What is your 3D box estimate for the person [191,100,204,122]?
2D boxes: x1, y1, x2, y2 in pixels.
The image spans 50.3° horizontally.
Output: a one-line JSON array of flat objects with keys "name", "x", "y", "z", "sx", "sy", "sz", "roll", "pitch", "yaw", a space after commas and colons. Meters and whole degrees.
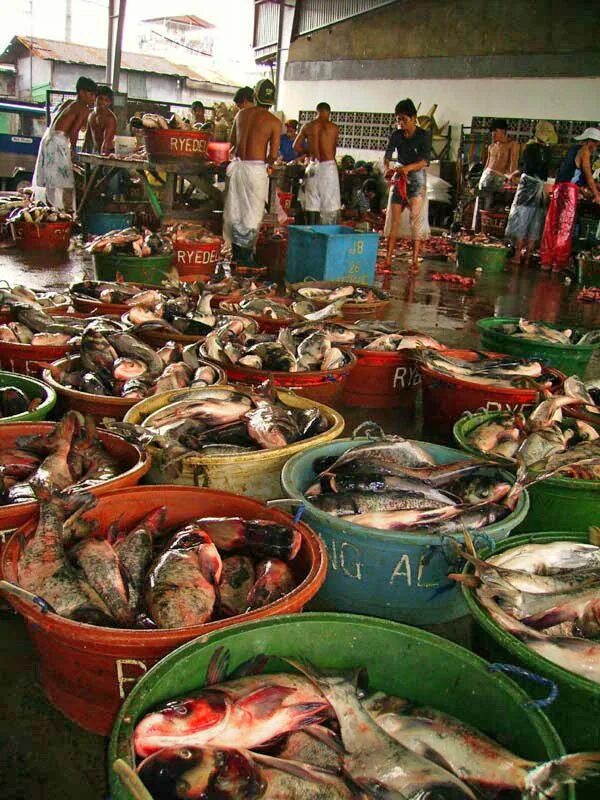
[{"name": "person", "x": -2.086, "y": -5.891, "z": 13.035, "sx": 0.190, "sy": 0.548, "sz": 0.695, "roll": 4, "pitch": 12, "yaw": -6}]

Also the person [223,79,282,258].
[{"name": "person", "x": -0.628, "y": -2.973, "z": 8.289, "sx": 0.660, "sy": 2.334, "sz": 0.680, "roll": 4, "pitch": 13, "yaw": -7}]

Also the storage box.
[{"name": "storage box", "x": 0.254, "y": -1.438, "z": 6.885, "sx": 0.955, "sy": 0.744, "sz": 0.868, "roll": -6, "pitch": 28, "yaw": -33}]

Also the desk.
[{"name": "desk", "x": -2.306, "y": -3.147, "z": 9.436, "sx": 2.520, "sy": 0.670, "sz": 0.987, "roll": 22, "pitch": 26, "yaw": 37}]

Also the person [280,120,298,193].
[{"name": "person", "x": -0.198, "y": -5.427, "z": 14.535, "sx": 0.576, "sy": 1.884, "sz": 0.487, "roll": 3, "pitch": 52, "yaw": 0}]

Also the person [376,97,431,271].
[{"name": "person", "x": 1.393, "y": -2.868, "z": 8.580, "sx": 0.897, "sy": 2.129, "sz": 0.671, "roll": -19, "pitch": 30, "yaw": -31}]

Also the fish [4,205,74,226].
[{"name": "fish", "x": -3.485, "y": -2.451, "z": 8.571, "sx": 0.778, "sy": 0.257, "sz": 0.308, "roll": 0, "pitch": 13, "yaw": -24}]
